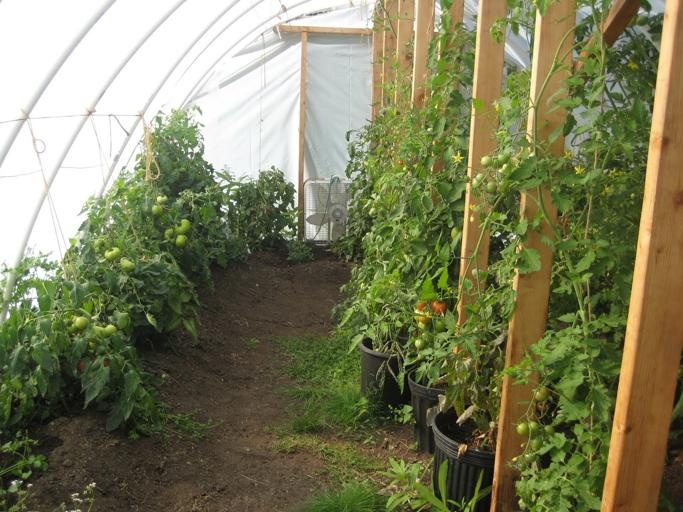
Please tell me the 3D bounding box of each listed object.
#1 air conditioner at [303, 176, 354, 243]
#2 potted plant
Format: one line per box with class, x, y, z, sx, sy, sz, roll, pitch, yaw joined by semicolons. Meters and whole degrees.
air conditioner;-0.186;-0.475;9.225;0.836;1.225;0.712;-1;-38;2
potted plant;0.533;0.625;2.939;0.799;1.006;0.953;1;8;-1
